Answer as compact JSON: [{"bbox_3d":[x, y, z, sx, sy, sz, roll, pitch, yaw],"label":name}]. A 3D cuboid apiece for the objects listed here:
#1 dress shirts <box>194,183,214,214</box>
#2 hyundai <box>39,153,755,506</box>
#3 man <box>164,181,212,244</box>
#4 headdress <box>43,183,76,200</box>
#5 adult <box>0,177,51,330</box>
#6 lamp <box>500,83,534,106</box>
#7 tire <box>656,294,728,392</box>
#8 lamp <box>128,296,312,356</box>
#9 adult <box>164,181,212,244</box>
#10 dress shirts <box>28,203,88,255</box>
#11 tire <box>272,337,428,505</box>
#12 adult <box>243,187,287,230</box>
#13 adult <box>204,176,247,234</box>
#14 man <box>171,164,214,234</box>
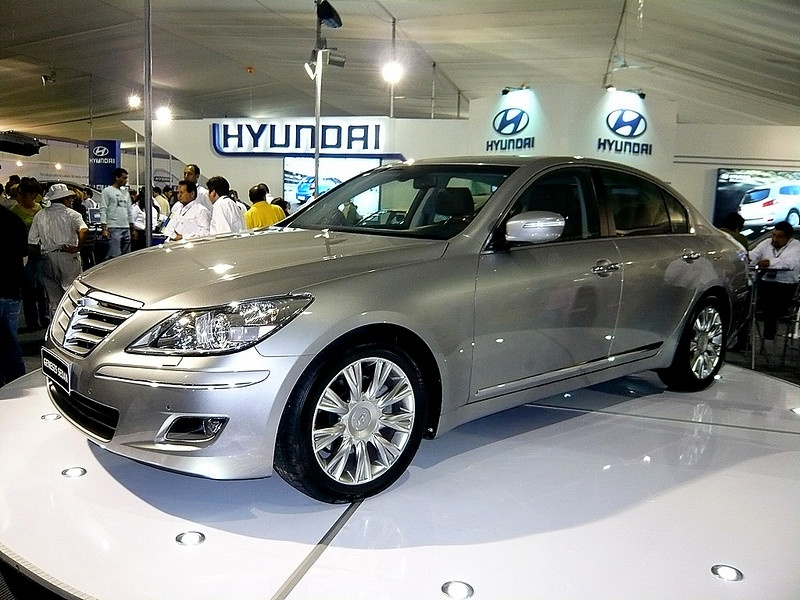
[{"bbox_3d":[-2.657,-1.359,7.118,0.131,0.357,0.253,-11,1,25],"label":"dress shirts"},{"bbox_3d":[0.451,-0.133,3.740,4.960,1.751,1.810,-6,15,-36],"label":"hyundai"},{"bbox_3d":[-2.826,-1.155,7.065,0.819,0.844,0.473,11,13,32],"label":"man"},{"bbox_3d":[-4.580,-1.441,7.116,0.405,0.162,0.358,-11,6,38],"label":"headdress"},{"bbox_3d":[-5.431,-0.631,7.820,0.550,2.201,0.635,19,17,41],"label":"adult"},{"bbox_3d":[2.466,-4.364,11.283,0.154,0.420,0.836,-7,15,-36],"label":"lamp"},{"bbox_3d":[2.366,0.334,4.301,0.741,0.756,0.227,10,-3,-38],"label":"tire"},{"bbox_3d":[-0.770,0.110,2.344,0.834,0.283,0.198,-5,9,-11],"label":"lamp"},{"bbox_3d":[-2.812,-1.145,7.087,0.479,0.869,0.865,-5,9,-42],"label":"adult"},{"bbox_3d":[-4.436,-0.930,6.961,0.726,0.657,0.331,-2,8,-7],"label":"dress shirts"},{"bbox_3d":[-0.231,0.575,2.612,0.773,0.790,0.267,0,4,-37],"label":"tire"},{"bbox_3d":[-1.893,-1.241,7.352,0.602,0.671,0.299,-13,32,-12],"label":"adult"},{"bbox_3d":[-2.234,-1.110,6.903,0.447,0.974,0.765,-4,5,-12],"label":"adult"},{"bbox_3d":[-2.743,-1.352,7.254,0.443,1.014,0.278,22,35,20],"label":"man"}]
